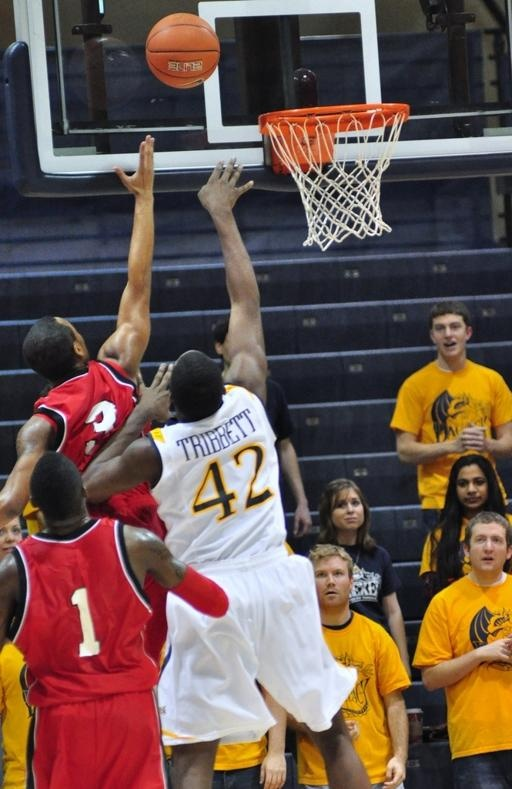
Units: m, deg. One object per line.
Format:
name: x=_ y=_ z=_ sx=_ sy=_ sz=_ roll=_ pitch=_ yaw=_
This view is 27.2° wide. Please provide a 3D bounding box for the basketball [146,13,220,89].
basketball: x=-0.375 y=-1.501 z=4.778 sx=0.371 sy=0.358 sz=0.299 roll=2 pitch=19 yaw=-10
